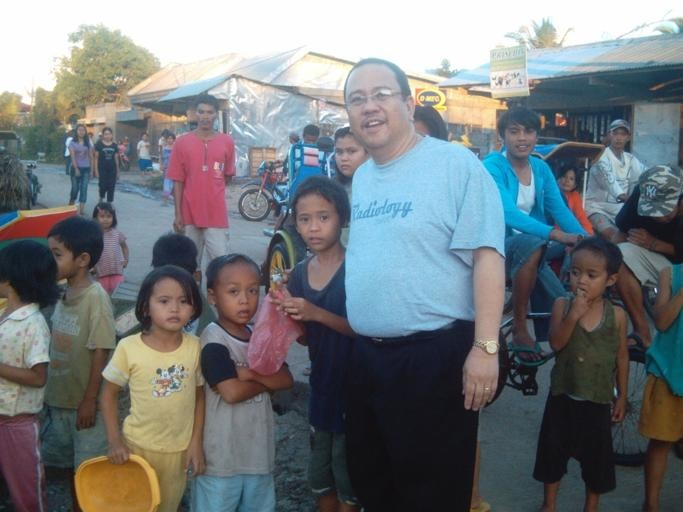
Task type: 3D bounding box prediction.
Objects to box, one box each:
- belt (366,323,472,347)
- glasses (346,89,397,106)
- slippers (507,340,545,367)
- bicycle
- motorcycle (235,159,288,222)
[{"bbox_3d":[0.400,0.385,3.185,0.511,0.141,0.103,1,12,7],"label":"belt"},{"bbox_3d":[0.158,-0.818,3.297,0.276,0.084,0.107,0,12,3],"label":"glasses"},{"bbox_3d":[1.274,0.684,4.347,0.216,0.108,0.179,-4,13,-13],"label":"slippers"},{"bbox_3d":[1.504,0.622,4.212,0.508,1.717,0.501,0,2,-20],"label":"bicycle"},{"bbox_3d":[-1.459,-1.266,13.202,0.974,1.655,1.023,-8,18,-36],"label":"motorcycle"}]
